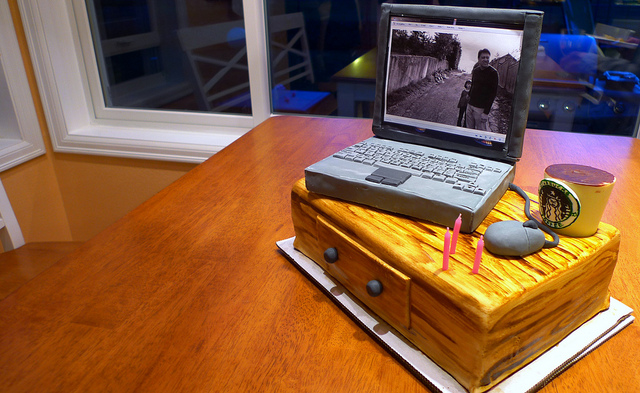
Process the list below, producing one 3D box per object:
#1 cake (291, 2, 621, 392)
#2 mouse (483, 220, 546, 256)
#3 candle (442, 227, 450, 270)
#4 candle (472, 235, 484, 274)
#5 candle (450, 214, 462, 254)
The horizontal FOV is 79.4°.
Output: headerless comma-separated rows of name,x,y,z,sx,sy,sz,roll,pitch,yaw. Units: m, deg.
cake,0.270,-0.067,0.826,0.499,0.652,0.614,-18,29,-32
mouse,0.365,0.078,0.727,0.090,0.034,0.061,-1,39,8
candle,0.236,0.096,0.718,0.013,0.069,0.039,8,26,19
candle,0.293,0.104,0.713,0.011,0.059,0.046,11,27,24
candle,0.261,0.068,0.744,0.010,0.076,0.035,9,27,21
